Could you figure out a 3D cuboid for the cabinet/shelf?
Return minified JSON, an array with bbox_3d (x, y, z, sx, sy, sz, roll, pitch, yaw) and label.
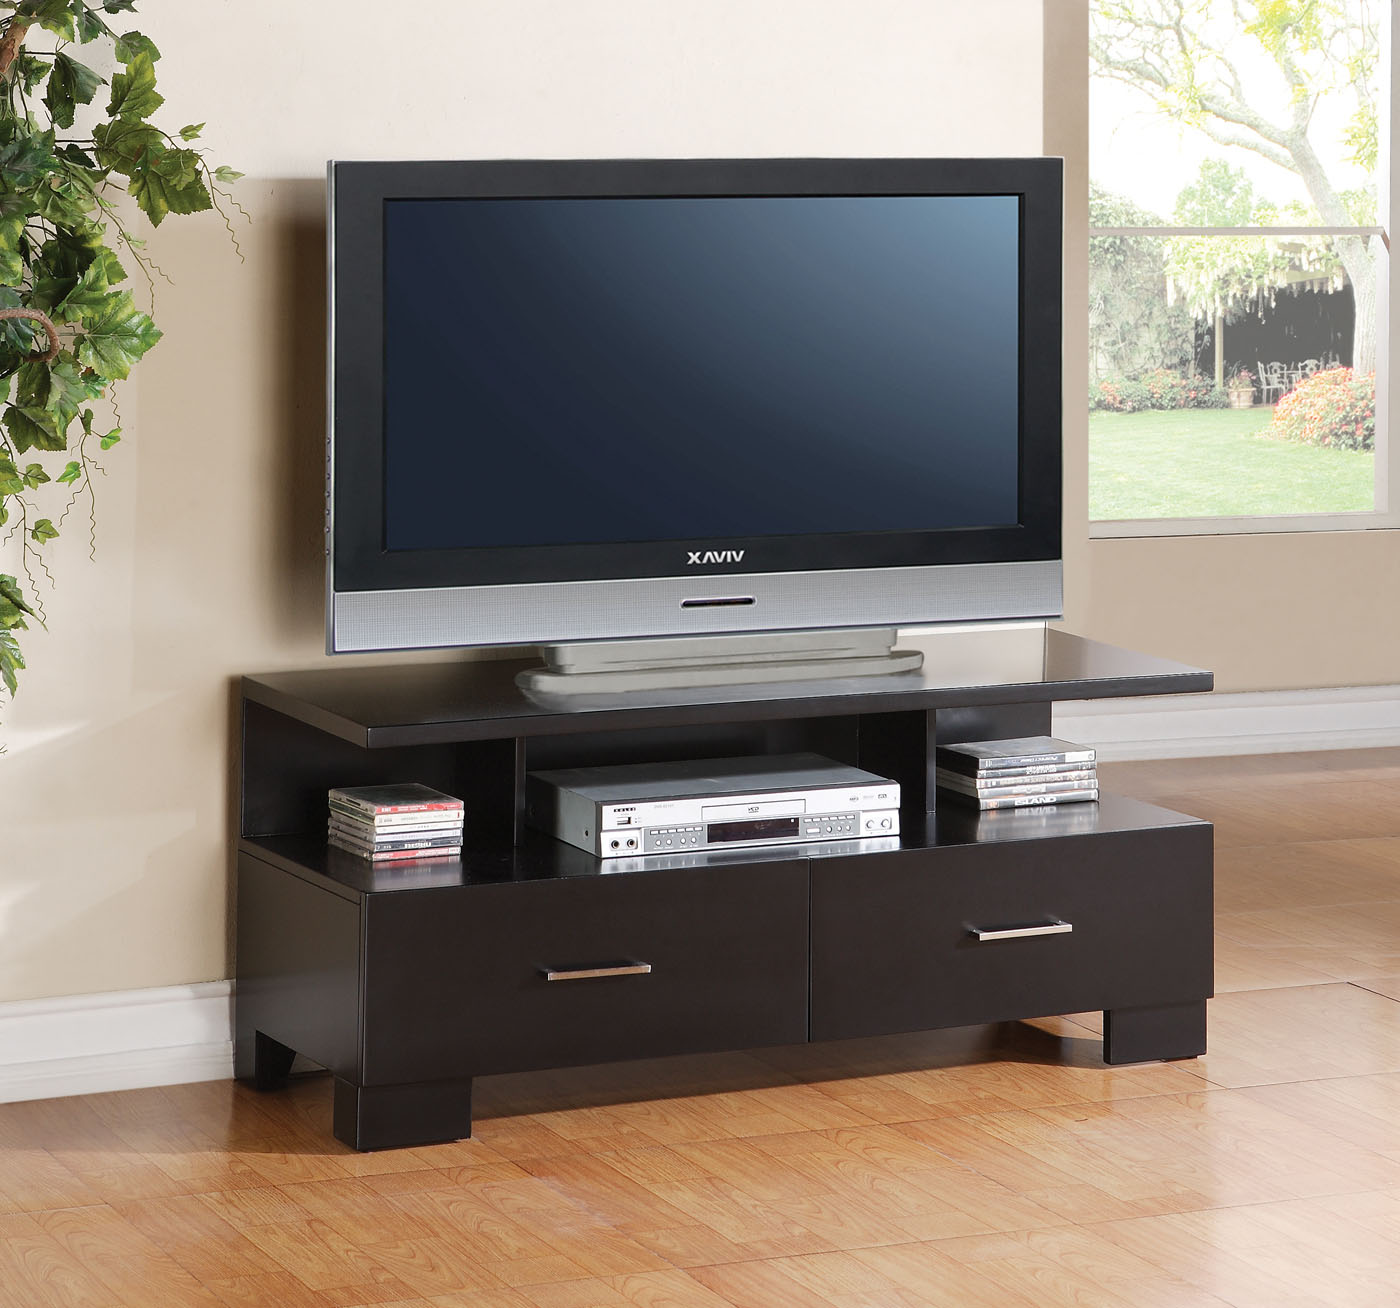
[{"bbox_3d":[0.044,0.371,2.377,1.443,0.570,0.612,0,-5,-24],"label":"cabinet/shelf"}]
